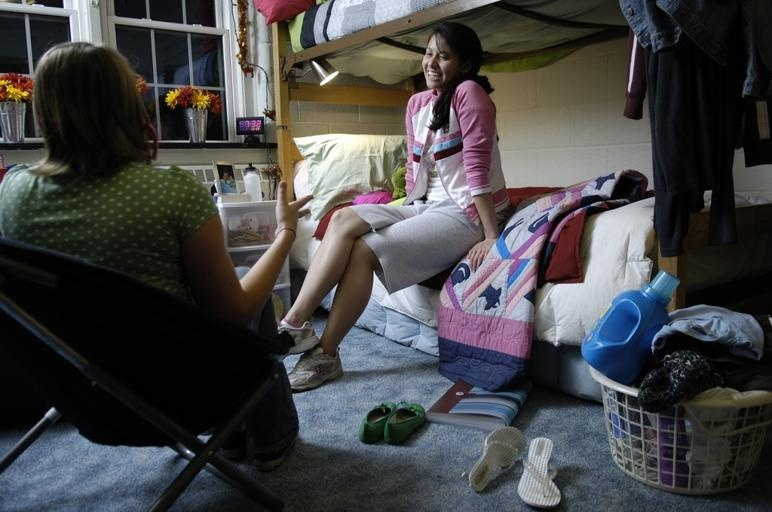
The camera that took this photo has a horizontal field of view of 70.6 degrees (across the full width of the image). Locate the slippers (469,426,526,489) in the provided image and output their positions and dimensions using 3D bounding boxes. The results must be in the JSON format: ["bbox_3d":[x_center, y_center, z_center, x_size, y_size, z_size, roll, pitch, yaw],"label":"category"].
[{"bbox_3d":[0.354,0.613,1.684,0.224,0.102,0.060,-46,-6,-13],"label":"slippers"}]

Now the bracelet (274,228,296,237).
[{"bbox_3d":[-0.298,-0.066,1.577,0.038,0.016,0.030,-11,14,-9],"label":"bracelet"}]

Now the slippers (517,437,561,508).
[{"bbox_3d":[0.466,0.645,1.630,0.122,0.071,0.239,3,16,19],"label":"slippers"}]

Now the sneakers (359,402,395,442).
[{"bbox_3d":[-0.035,0.568,1.891,0.062,0.060,0.146,1,24,12],"label":"sneakers"}]
